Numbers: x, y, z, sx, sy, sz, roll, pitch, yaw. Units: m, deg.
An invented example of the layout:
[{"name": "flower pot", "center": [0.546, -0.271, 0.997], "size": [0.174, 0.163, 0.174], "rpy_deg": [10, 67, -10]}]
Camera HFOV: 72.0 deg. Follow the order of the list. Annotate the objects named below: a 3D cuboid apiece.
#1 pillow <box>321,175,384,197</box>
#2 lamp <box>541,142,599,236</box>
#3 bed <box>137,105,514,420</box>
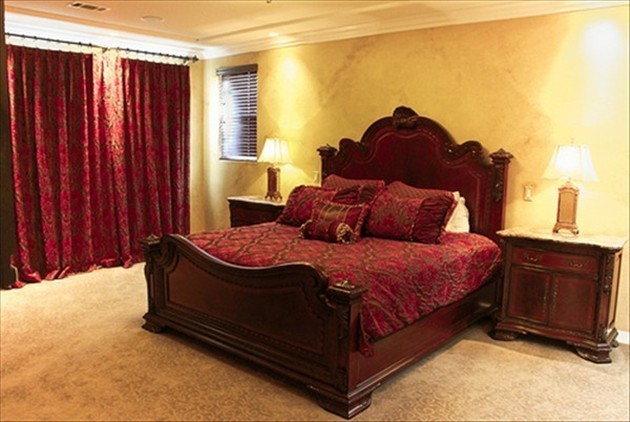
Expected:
[{"name": "pillow", "center": [0.447, -0.327, 5.068], "size": [0.529, 0.162, 0.321], "rpy_deg": [10, 14, 37]}, {"name": "lamp", "center": [2.423, -0.216, 4.097], "size": [0.473, 0.838, 0.387], "rpy_deg": [-10, 16, -38]}, {"name": "bed", "center": [0.181, 0.083, 4.257], "size": [2.540, 2.151, 2.793], "rpy_deg": [11, 16, 39]}]
